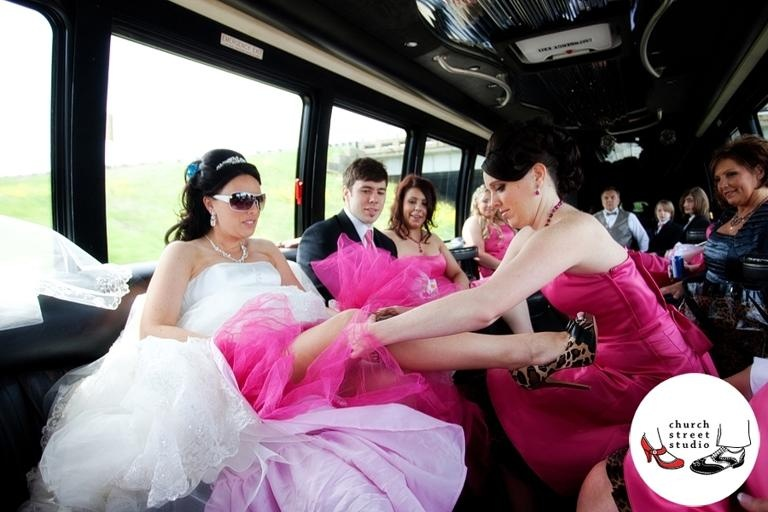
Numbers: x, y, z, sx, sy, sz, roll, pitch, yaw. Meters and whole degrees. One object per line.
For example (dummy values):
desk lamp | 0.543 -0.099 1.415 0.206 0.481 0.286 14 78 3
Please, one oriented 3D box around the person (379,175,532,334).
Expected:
person | 0.896 -0.199 4.615 1.516 1.640 1.022 6 24 31

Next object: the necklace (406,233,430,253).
necklace | 0.334 -0.118 4.601 0.206 0.146 0.067 -6 -10 -5
